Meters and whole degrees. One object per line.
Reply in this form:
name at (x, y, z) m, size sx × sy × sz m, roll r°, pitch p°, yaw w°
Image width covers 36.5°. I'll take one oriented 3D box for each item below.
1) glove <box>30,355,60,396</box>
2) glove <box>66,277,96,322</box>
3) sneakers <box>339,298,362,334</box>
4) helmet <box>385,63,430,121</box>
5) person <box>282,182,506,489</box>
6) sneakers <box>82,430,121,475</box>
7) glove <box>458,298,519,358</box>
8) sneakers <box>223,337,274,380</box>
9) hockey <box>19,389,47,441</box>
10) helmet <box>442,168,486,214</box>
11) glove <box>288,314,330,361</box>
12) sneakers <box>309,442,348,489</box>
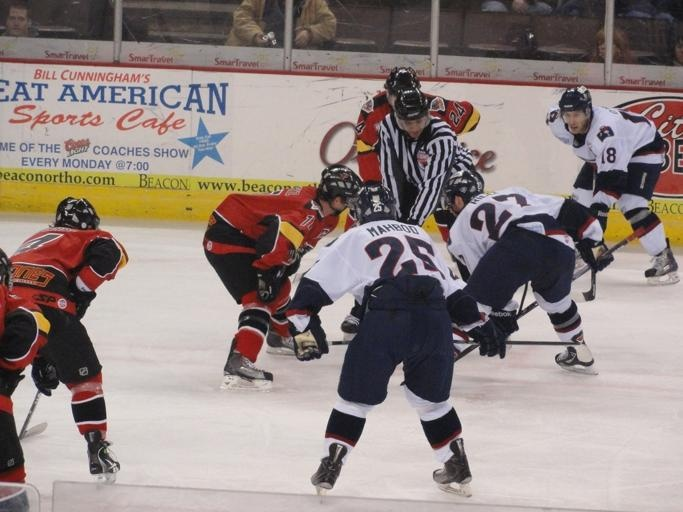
glove at (-1.675, 0.667, 5.844) m, size 0.162 × 0.087 × 0.225 m, roll 57°, pitch 3°, yaw 39°
glove at (-1.492, 0.242, 5.936) m, size 0.090 × 0.305 × 0.121 m, roll 7°, pitch 48°, yaw -14°
sneakers at (0.068, 0.437, 7.022) m, size 0.113 × 0.131 × 0.324 m, roll 1°, pitch -1°, yaw 4°
helmet at (0.447, -1.085, 6.936) m, size 0.294 × 0.361 × 0.436 m, roll 4°, pitch 6°, yaw 2°
person at (0.252, 0.432, 5.612) m, size 1.074 × 1.600 × 0.616 m, roll 4°, pitch 6°, yaw 7°
sneakers at (-1.286, 1.052, 5.586) m, size 0.188 × 0.230 × 0.124 m, roll 2°, pitch 6°, yaw -12°
glove at (0.929, 0.446, 6.199) m, size 0.171 × 0.350 × 0.386 m, roll 25°, pitch -18°, yaw -31°
sneakers at (-0.573, 0.647, 6.489) m, size 0.309 × 0.255 × 0.160 m, roll 3°, pitch 6°, yaw -6°
hockey at (-1.762, 0.918, 5.915) m, size 0.067 × 0.212 × 0.228 m, roll 11°, pitch -23°, yaw -9°
helmet at (0.814, -0.438, 6.943) m, size 0.272 × 0.292 × 0.322 m, roll -9°, pitch 18°, yaw -24°
glove at (-0.151, 0.454, 5.648) m, size 0.213 × 0.243 × 0.100 m, roll -2°, pitch 13°, yaw 40°
sneakers at (-0.057, 1.093, 5.434) m, size 0.117 × 0.219 × 0.329 m, roll 22°, pitch -1°, yaw -1°
